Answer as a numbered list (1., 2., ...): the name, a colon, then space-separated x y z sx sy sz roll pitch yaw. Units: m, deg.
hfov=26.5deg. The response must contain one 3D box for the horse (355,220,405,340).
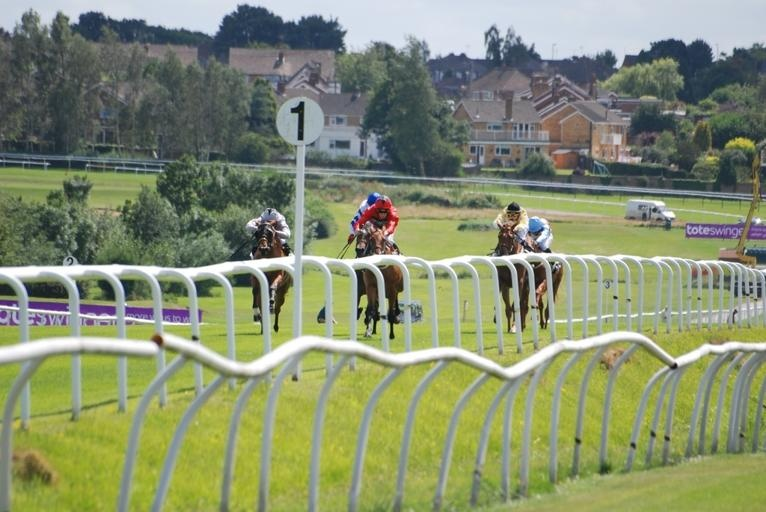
1. horse: -0.137 1.406 87.120 1.983 6.278 2.345 6 7 30

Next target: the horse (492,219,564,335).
1. horse: 6.929 0.749 89.545 3.089 6.797 5.998 2 1 8

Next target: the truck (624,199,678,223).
1. truck: 20.760 -3.398 126.957 3.059 1.757 1.855 1 4 35

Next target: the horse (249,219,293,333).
1. horse: -6.024 1.204 87.883 1.995 6.120 4.277 2 7 -4
